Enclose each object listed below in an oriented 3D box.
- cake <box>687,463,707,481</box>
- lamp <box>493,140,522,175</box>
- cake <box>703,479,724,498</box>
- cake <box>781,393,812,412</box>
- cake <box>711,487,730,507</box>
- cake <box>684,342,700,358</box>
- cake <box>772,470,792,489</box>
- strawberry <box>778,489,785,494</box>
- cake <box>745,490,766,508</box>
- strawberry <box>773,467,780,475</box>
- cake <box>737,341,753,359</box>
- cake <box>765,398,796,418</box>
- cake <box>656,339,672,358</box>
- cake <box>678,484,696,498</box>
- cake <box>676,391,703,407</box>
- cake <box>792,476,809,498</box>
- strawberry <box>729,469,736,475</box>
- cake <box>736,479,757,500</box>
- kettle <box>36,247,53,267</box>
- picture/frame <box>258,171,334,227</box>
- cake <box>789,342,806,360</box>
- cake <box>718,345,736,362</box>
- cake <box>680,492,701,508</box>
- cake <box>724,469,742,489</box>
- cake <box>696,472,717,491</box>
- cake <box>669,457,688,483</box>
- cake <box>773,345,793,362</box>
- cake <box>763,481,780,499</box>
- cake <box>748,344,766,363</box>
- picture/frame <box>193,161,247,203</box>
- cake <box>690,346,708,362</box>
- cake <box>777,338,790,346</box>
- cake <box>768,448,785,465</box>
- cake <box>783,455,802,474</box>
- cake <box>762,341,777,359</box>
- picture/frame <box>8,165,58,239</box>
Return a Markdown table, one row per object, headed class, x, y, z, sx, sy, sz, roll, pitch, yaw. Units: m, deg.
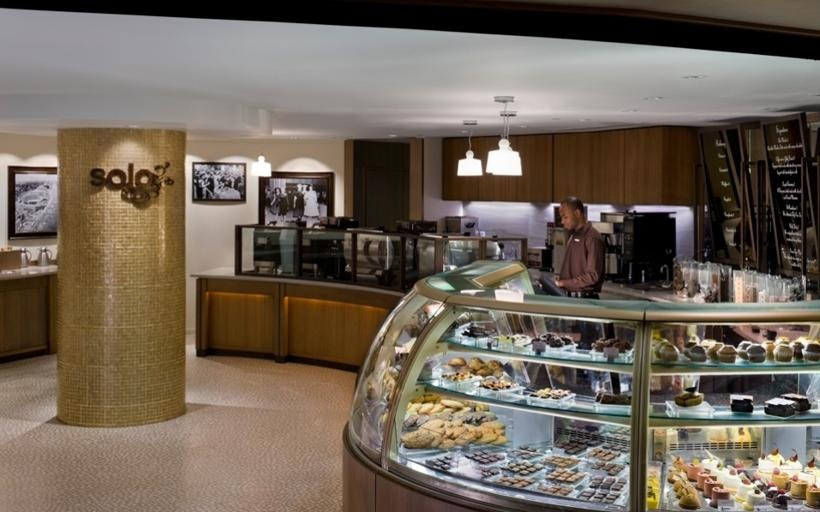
| class | x | y | z | sx | sy | sz | roll | pitch | yaw |
| --- | --- | --- | --- | --- | --- | --- | --- | --- | --- |
| cake | 1.817 | 1.373 | 3.780 | 0.097 | 0.085 | 0.095 | -4 | 8 | -37 |
| lamp | 1.095 | -1.126 | 6.815 | 0.421 | 0.404 | 0.406 | -5 | 9 | -30 |
| cake | 1.843 | 1.429 | 3.601 | 0.100 | 0.067 | 0.098 | 2 | 4 | 25 |
| cake | 2.360 | 0.873 | 3.628 | 0.107 | 0.078 | 0.130 | -7 | 8 | -28 |
| cake | 1.891 | 1.469 | 3.611 | 0.119 | 0.107 | 0.072 | -3 | 9 | -21 |
| cake | 1.698 | 0.565 | 3.554 | 0.102 | 0.071 | 0.101 | 2 | -1 | -6 |
| cake | 2.276 | 1.371 | 3.652 | 0.092 | 0.091 | 0.088 | -1 | -1 | -25 |
| strawberry | 2.245 | 1.424 | 3.583 | 0.021 | 0.010 | 0.021 | 4 | 5 | 36 |
| cake | 2.076 | 1.474 | 3.572 | 0.117 | 0.100 | 0.110 | -1 | 0 | 0 |
| strawberry | 2.273 | 1.336 | 3.682 | 0.036 | 0.024 | 0.041 | -1 | 3 | -25 |
| cake | 2.050 | 0.579 | 3.646 | 0.097 | 0.087 | 0.095 | 4 | 8 | 23 |
| cake | 2.237 | 0.920 | 3.587 | 0.122 | 0.068 | 0.119 | 0 | 5 | 28 |
| cake | 1.500 | 0.543 | 3.519 | 0.106 | 0.093 | 0.104 | 2 | 3 | 33 |
| cake | 1.676 | 1.441 | 3.591 | 0.088 | 0.051 | 0.085 | -2 | 7 | -20 |
| cake | 1.702 | 0.872 | 3.616 | 0.213 | 0.087 | 0.038 | -3 | 9 | -22 |
| cake | 2.345 | 1.398 | 3.596 | 0.105 | 0.106 | 0.101 | 1 | 0 | -14 |
| strawberry | 2.028 | 1.358 | 3.729 | 0.032 | 0.027 | 0.031 | 0 | 3 | 17 |
| cake | 2.049 | 1.429 | 3.621 | 0.094 | 0.077 | 0.089 | 1 | 0 | -11 |
| kettle | -5.974 | 0.004 | 9.779 | 0.208 | 0.276 | 0.455 | -2 | 9 | -16 |
| picture/frame | -2.183 | -1.079 | 11.096 | 1.284 | 0.958 | 0.104 | 0 | 6 | -7 |
| cake | 2.366 | 0.588 | 3.618 | 0.092 | 0.100 | 0.094 | 0 | -2 | 4 |
| cake | 1.923 | 0.600 | 3.646 | 0.117 | 0.094 | 0.105 | -1 | 6 | -16 |
| cake | 1.673 | 1.459 | 3.533 | 0.092 | 0.051 | 0.088 | -2 | 8 | -1 |
| cake | 1.999 | 1.381 | 3.690 | 0.100 | 0.098 | 0.098 | -1 | -5 | 22 |
| cake | 1.834 | 1.407 | 3.678 | 0.107 | 0.093 | 0.102 | 0 | 4 | -5 |
| cake | 1.695 | 1.348 | 3.754 | 0.102 | 0.095 | 0.148 | 0 | -7 | 2 |
| cake | 2.262 | 0.588 | 3.612 | 0.103 | 0.085 | 0.100 | 1 | -1 | -35 |
| cake | 2.189 | 1.425 | 3.601 | 0.073 | 0.026 | 0.069 | -10 | 10 | -13 |
| cake | 2.107 | 0.597 | 3.649 | 0.104 | 0.080 | 0.100 | 4 | 4 | 4 |
| picture/frame | -3.522 | -1.388 | 10.902 | 0.875 | 0.584 | 0.032 | 0 | 10 | -12 |
| cake | 1.725 | 0.590 | 3.564 | 0.108 | 0.072 | 0.103 | 2 | 1 | -17 |
| cake | 2.302 | 0.533 | 3.661 | 0.063 | 0.038 | 0.060 | 1 | 5 | -3 |
| cake | 2.332 | 1.282 | 3.772 | 0.089 | 0.088 | 0.085 | -1 | 9 | 6 |
| cake | 2.387 | 1.321 | 3.714 | 0.100 | 0.101 | 0.101 | -5 | 7 | -36 |
| cake | 2.195 | 0.576 | 3.623 | 0.095 | 0.086 | 0.093 | -7 | 8 | -39 |
| picture/frame | -6.162 | -0.865 | 9.723 | 0.080 | 1.186 | 0.767 | 7 | 11 | 39 |
